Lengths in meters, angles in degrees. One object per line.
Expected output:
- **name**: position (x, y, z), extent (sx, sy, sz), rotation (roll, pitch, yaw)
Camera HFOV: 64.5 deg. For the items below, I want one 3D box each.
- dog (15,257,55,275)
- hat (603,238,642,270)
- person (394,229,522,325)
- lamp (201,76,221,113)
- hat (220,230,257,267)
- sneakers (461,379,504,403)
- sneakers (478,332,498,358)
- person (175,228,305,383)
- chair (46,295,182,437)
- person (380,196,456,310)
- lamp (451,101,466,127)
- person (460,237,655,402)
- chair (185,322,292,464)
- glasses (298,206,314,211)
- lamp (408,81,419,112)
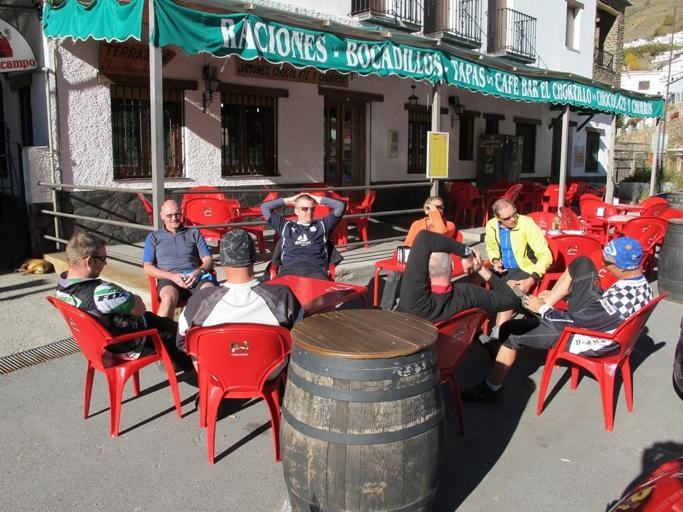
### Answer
- **dog**: position (-4.367, 0.159, 7.793), extent (0.522, 0.316, 0.226), rotation (3, 1, 16)
- **hat**: position (2.184, -0.019, 4.206), extent (0.264, 0.248, 0.258), rotation (5, 12, 29)
- **person**: position (0.899, 0.199, 4.239), extent (0.972, 0.472, 0.627), rotation (10, 48, -1)
- **lamp**: position (-2.364, -2.919, 9.837), extent (0.333, 0.640, 0.173), rotation (-6, 12, -24)
- **hat**: position (-0.714, -0.048, 3.735), extent (0.217, 0.257, 0.249), rotation (0, 15, -9)
- **sneakers**: position (1.185, 1.153, 4.635), extent (0.390, 0.213, 0.154), rotation (2, 5, 9)
- **sneakers**: position (1.481, 0.868, 5.443), extent (0.102, 0.272, 0.085), rotation (2, -21, -41)
- **person**: position (-0.789, 0.392, 4.148), extent (1.050, 1.244, 0.624), rotation (-1, 24, -5)
- **chair**: position (-1.795, 0.919, 4.318), extent (0.559, 1.060, 0.710), rotation (16, 23, 35)
- **person**: position (0.941, 0.012, 6.374), extent (0.509, 1.577, 0.794), rotation (17, -1, 17)
- **lamp**: position (3.155, -3.823, 14.645), extent (0.329, 0.675, 0.740), rotation (4, 12, 24)
- **person**: position (1.809, 0.588, 4.656), extent (1.277, 1.746, 0.694), rotation (19, 13, 40)
- **chair**: position (-0.716, 0.785, 3.993), extent (0.785, 1.303, 0.876), rotation (-1, 28, -6)
- **glasses**: position (-0.348, -0.471, 5.518), extent (0.151, 0.042, 0.053), rotation (-5, 12, -21)
- **lamp**: position (1.782, -3.901, 13.301), extent (0.270, 0.606, 0.750), rotation (1, 11, 7)
